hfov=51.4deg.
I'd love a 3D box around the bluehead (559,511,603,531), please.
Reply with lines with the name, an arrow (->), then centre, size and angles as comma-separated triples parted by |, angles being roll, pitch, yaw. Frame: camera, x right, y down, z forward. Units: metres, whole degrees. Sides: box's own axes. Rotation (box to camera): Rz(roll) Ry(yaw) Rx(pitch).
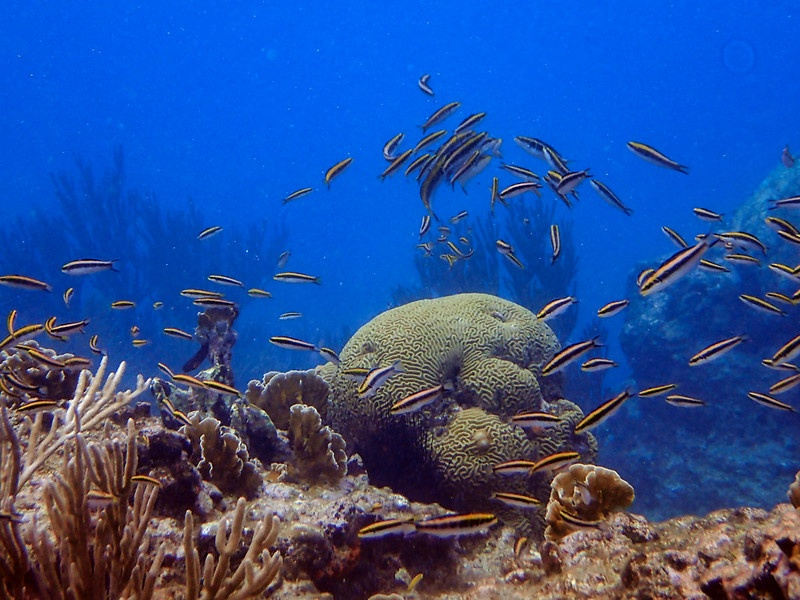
bluehead -> 4.028, 4.842, 18.312 | 0.783, 0.148, 0.332 | 5, 16, 31
